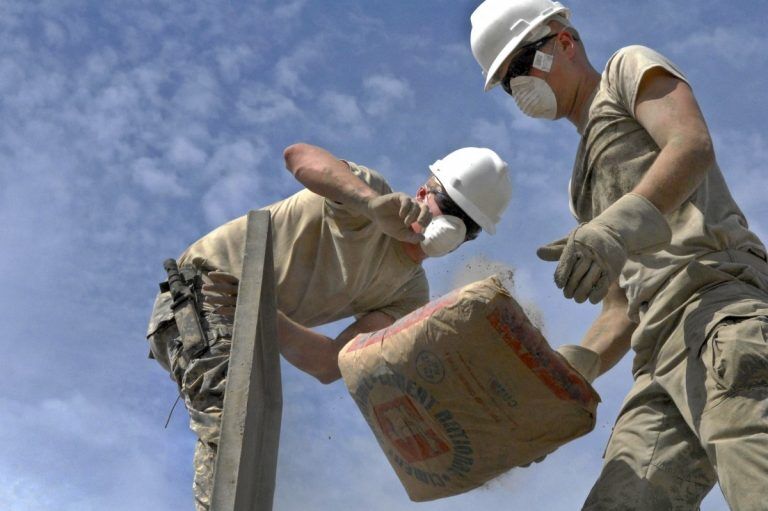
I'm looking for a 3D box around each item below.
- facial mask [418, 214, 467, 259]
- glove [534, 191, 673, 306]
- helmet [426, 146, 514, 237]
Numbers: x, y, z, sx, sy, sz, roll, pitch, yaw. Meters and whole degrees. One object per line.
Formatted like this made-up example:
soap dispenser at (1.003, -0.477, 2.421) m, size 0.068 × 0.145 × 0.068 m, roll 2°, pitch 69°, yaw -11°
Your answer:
facial mask at (0.420, -0.109, 10.745) m, size 0.252 × 0.420 × 0.305 m, roll -2°, pitch -2°, yaw 0°
glove at (1.383, -0.034, 9.399) m, size 0.751 × 0.571 × 0.204 m, roll -15°, pitch -15°, yaw -12°
helmet at (0.552, -0.392, 10.602) m, size 0.485 × 0.601 × 0.517 m, roll -42°, pitch -46°, yaw -10°
